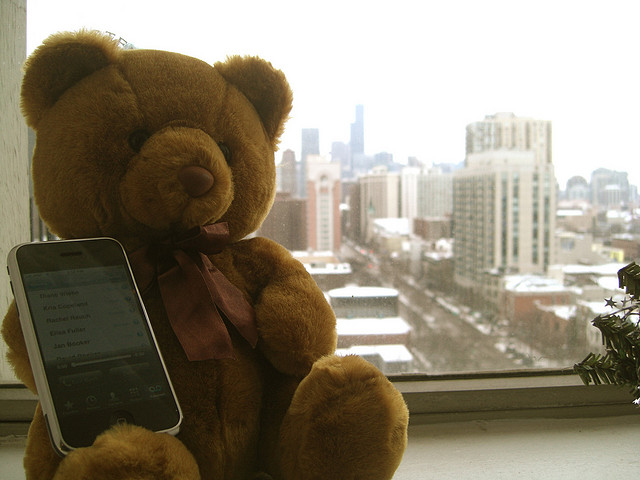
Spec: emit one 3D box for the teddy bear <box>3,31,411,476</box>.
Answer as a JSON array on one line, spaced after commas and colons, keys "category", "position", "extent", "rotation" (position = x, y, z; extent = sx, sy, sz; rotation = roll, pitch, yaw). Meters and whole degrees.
[{"category": "teddy bear", "position": [-0.171, 0.083, 1.346], "extent": [0.771, 0.803, 0.747], "rotation": [-6, 26, -38]}]
